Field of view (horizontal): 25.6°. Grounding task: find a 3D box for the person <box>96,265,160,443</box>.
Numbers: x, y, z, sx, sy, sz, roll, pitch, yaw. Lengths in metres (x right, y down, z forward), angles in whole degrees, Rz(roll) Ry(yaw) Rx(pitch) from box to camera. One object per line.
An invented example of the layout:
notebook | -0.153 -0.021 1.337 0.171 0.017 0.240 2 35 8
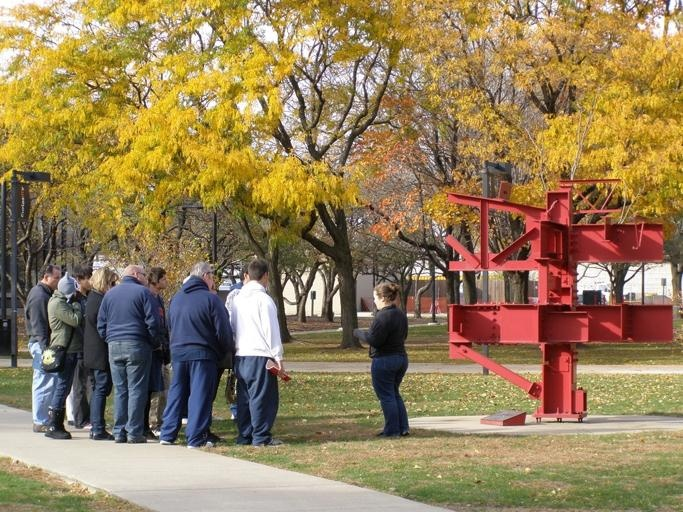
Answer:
person | -4.319 1.972 30.768 1.277 3.657 0.519 -4 -7 16

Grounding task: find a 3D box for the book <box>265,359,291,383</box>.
book | -1.260 2.327 30.411 0.448 0.169 0.439 38 6 -42

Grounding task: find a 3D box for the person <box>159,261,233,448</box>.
person | -2.966 1.969 30.615 1.506 3.788 0.459 -4 -7 12

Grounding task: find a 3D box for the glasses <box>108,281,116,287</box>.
glasses | -4.811 0.564 31.596 0.096 0.026 0.092 -34 -13 1

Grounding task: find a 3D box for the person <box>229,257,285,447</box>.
person | -1.726 1.936 30.606 1.083 3.777 0.539 -3 -7 4

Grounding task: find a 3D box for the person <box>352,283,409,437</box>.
person | 0.951 2.119 31.218 1.020 3.190 0.817 0 -7 -20
